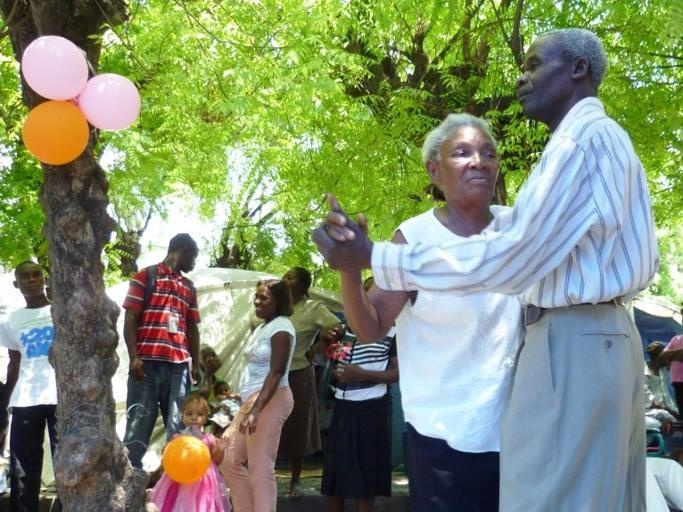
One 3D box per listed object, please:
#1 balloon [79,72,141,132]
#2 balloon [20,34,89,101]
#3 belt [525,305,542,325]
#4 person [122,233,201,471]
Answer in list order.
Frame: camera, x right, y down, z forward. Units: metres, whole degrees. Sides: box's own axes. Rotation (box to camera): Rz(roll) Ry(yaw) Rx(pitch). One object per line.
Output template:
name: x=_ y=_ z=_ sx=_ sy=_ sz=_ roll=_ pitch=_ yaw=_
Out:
balloon: x=-1.683 y=-1.157 z=5.559 sx=0.458 sy=0.524 sz=0.448 roll=-3 pitch=-8 yaw=-21
balloon: x=-1.982 y=-1.329 z=5.302 sx=0.464 sy=0.445 sz=0.540 roll=0 pitch=-62 yaw=-16
belt: x=0.841 y=0.269 z=3.402 sx=0.080 sy=0.073 sz=0.062 roll=0 pitch=1 yaw=-6
person: x=-1.629 y=0.817 z=6.967 sx=0.776 sy=2.092 sz=0.414 roll=6 pitch=-19 yaw=-31
